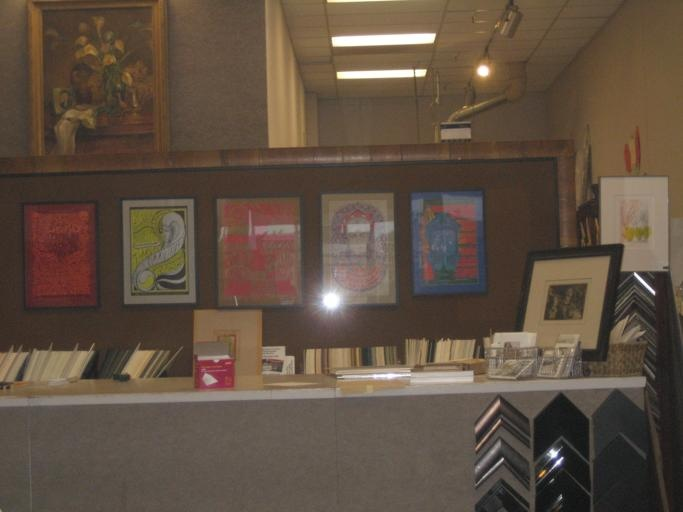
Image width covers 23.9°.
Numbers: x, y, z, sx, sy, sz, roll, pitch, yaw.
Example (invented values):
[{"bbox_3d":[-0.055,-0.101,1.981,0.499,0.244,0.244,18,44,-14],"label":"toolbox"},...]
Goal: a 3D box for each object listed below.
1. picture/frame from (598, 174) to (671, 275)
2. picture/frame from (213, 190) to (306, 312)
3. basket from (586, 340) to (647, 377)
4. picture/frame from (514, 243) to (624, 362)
[{"bbox_3d":[2.400,-0.233,13.086,0.726,1.094,0.140,0,-7,3],"label":"picture/frame"},{"bbox_3d":[-0.718,-0.035,14.276,0.727,0.950,0.102,0,-1,8],"label":"picture/frame"},{"bbox_3d":[2.224,0.817,12.785,0.432,0.299,0.242,1,8,-9],"label":"basket"},{"bbox_3d":[1.856,0.405,12.814,0.882,1.104,0.086,1,-21,32],"label":"picture/frame"}]
